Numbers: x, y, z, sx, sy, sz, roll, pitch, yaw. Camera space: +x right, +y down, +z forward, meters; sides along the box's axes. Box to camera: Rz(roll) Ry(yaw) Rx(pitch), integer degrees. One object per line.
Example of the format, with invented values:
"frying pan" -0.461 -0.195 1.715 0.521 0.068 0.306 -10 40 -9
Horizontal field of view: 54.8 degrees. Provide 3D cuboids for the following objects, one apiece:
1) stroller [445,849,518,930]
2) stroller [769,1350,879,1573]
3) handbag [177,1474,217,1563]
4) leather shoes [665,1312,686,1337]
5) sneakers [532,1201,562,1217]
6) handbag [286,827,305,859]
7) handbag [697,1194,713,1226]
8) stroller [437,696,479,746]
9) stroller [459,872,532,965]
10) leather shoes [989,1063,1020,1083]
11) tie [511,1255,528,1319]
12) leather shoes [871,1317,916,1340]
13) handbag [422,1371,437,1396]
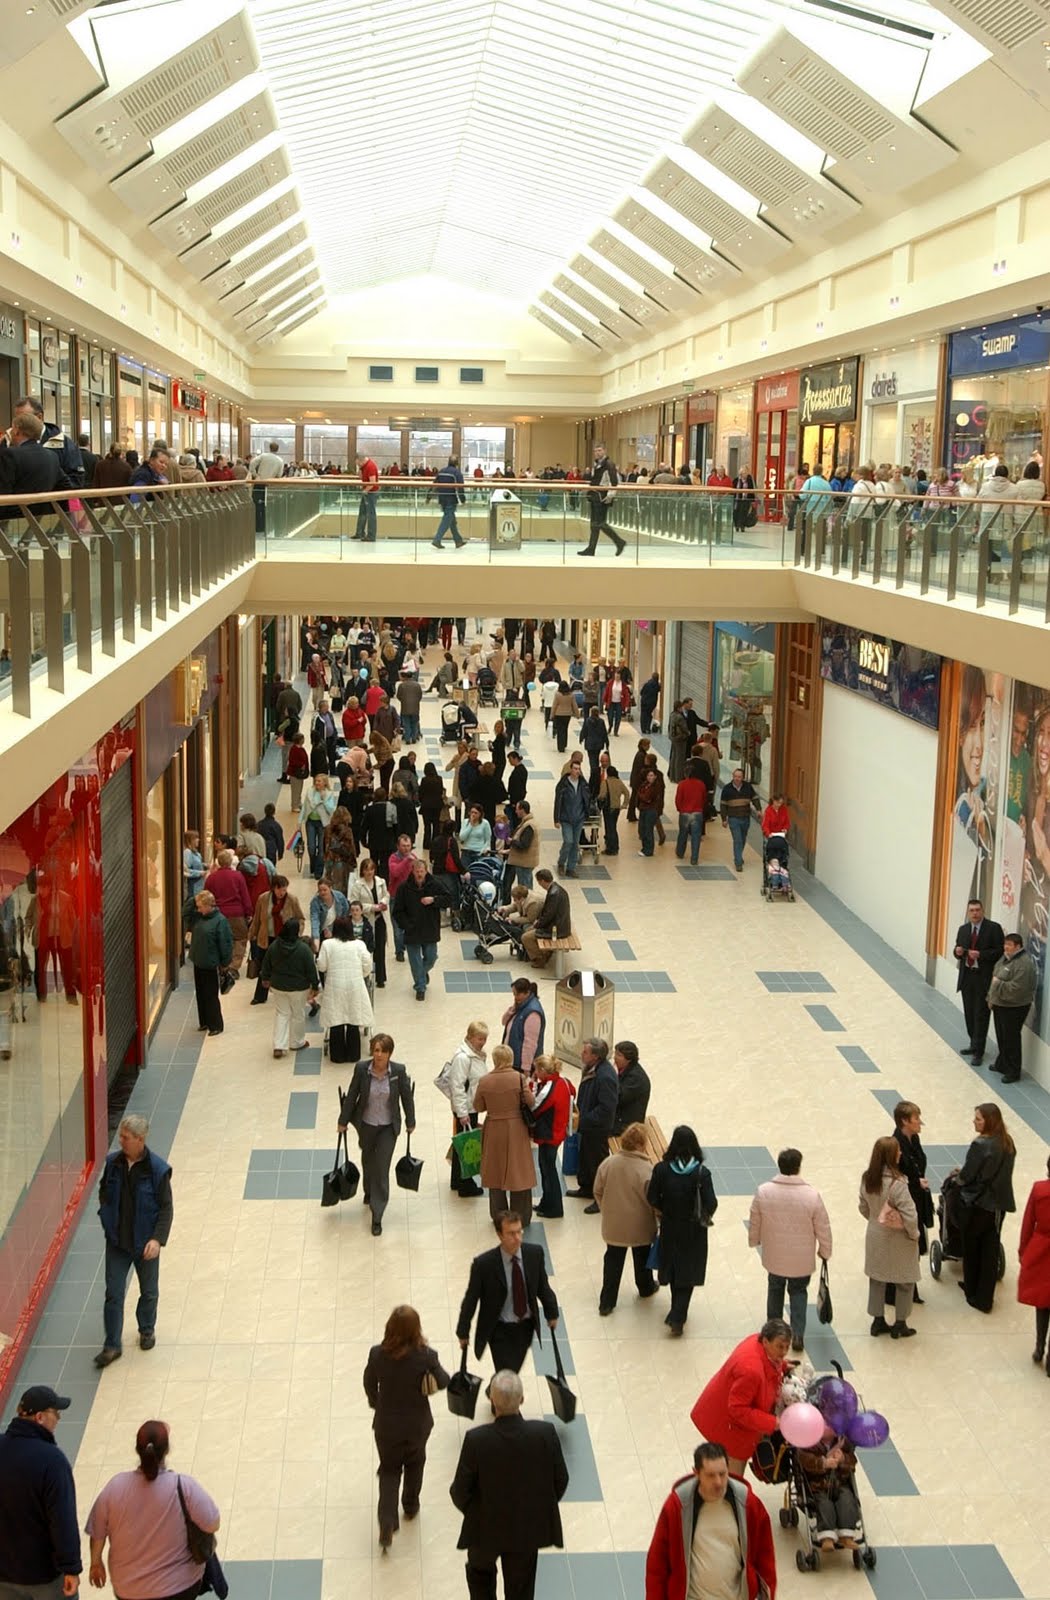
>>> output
"stroller" -0.583 1.133 14.447 0.922 0.913 1.247 4 -34 1
"stroller" 1.128 2.673 4.214 0.420 0.746 0.771 0 0 0
"handbag" -0.825 1.825 2.567 0.049 0.321 0.093 4 10 19
"leather shoes" 0.883 3.085 5.955 0.099 0.132 0.135 1 8 1
"sneakers" 0.188 3.015 7.454 0.185 0.149 0.064 0 10 0
"handbag" -3.791 0.750 17.004 0.180 0.589 0.414 14 7 -9
"handbag" 0.992 2.247 5.578 0.055 0.169 0.161 1 -9 21
"stroller" -1.528 -1.847 23.374 0.896 1.800 1.441 0 -2 -2
"stroller" -0.381 1.590 13.732 0.936 1.355 0.878 2 11 -7
"leather shoes" 4.879 2.807 10.343 0.258 0.215 0.097 9 13 5
"tie" -0.020 2.181 4.522 0.062 0.346 0.100 1 10 6
"leather shoes" 2.211 3.181 6.098 0.149 0.140 0.062 -11 32 -12
"handbag" -0.353 2.174 3.789 0.045 0.093 0.069 1 33 0
